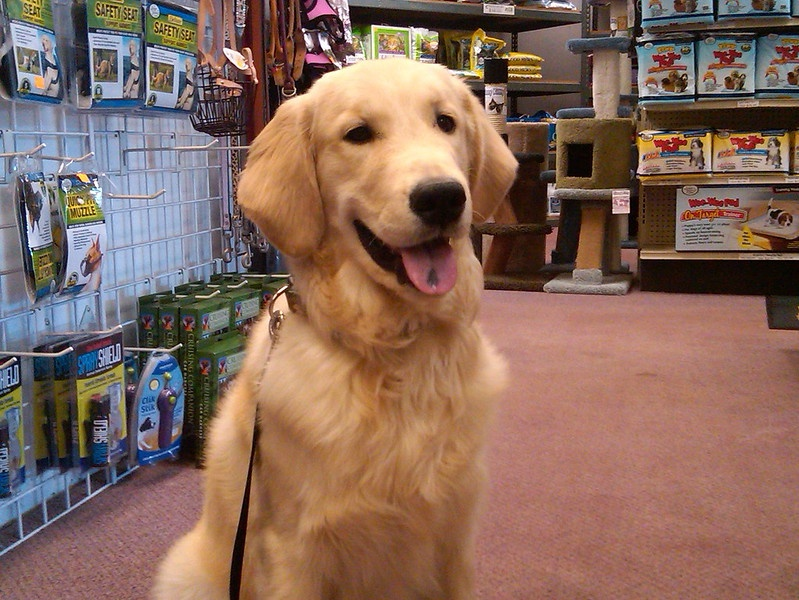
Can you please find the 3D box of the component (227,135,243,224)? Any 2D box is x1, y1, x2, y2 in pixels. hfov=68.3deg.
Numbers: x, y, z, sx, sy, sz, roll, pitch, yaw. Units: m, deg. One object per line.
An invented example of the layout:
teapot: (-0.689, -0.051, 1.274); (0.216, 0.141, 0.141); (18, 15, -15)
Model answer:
component: (-0.768, -0.578, 2.742); (0.084, 0.330, 0.086); (25, 41, 16)
